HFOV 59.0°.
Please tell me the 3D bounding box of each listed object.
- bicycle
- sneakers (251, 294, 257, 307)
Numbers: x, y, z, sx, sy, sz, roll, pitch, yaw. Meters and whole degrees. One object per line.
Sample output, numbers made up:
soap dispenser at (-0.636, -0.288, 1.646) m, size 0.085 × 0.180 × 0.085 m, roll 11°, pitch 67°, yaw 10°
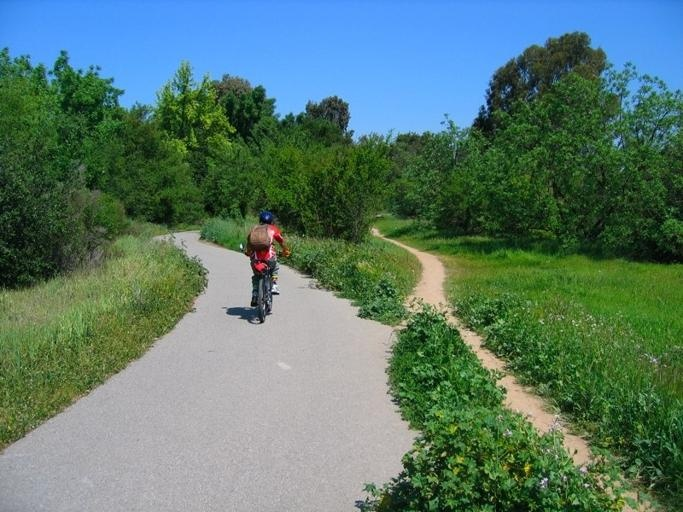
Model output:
bicycle at (-1.830, 0.686, 14.117) m, size 0.561 × 1.576 × 1.435 m, roll 4°, pitch 10°, yaw 5°
sneakers at (-2.010, 1.044, 13.934) m, size 0.124 × 0.303 × 0.296 m, roll 0°, pitch -31°, yaw -2°
